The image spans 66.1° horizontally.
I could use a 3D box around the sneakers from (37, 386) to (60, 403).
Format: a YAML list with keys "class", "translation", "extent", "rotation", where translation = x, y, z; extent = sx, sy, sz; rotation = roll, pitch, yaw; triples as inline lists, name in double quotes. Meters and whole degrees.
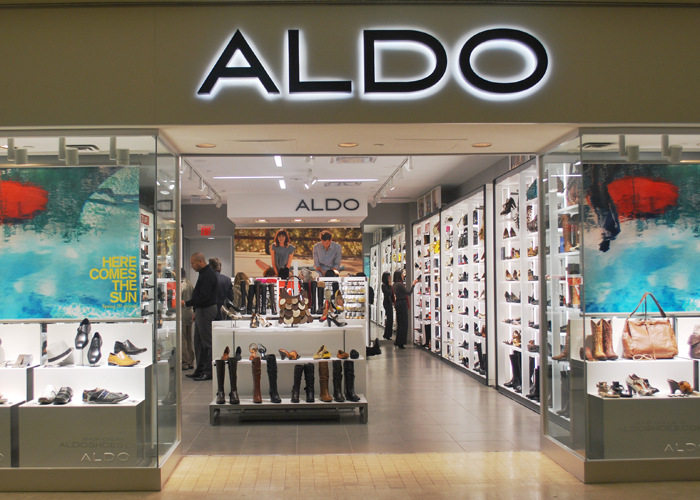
- class: "sneakers"
  translation: [-2.749, 1.329, 4.918]
  extent: [0.147, 0.159, 0.094]
  rotation: [0, 0, 0]

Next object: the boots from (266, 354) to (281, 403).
- class: "boots"
  translation: [-0.941, 1.587, 6.659]
  extent: [0.184, 0.560, 0.302]
  rotation: [0, 0, -10]

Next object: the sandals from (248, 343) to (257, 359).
- class: "sandals"
  translation: [-1.219, 1.292, 6.772]
  extent: [0.072, 0.213, 0.078]
  rotation: [8, -48, -13]

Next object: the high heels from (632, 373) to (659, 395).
- class: "high heels"
  translation: [2.786, 1.293, 5.114]
  extent: [0.246, 0.106, 0.151]
  rotation: [7, 8, 43]

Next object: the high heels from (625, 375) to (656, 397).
- class: "high heels"
  translation: [2.766, 1.291, 5.130]
  extent: [0.258, 0.124, 0.159]
  rotation: [1, -1, 43]

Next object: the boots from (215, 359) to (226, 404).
- class: "boots"
  translation: [-1.586, 1.624, 6.645]
  extent: [0.118, 0.513, 0.290]
  rotation: [0, 0, -14]

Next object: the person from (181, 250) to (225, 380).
- class: "person"
  translation: [-2.547, 1.118, 9.105]
  extent: [0.668, 2.016, 0.655]
  rotation: [-1, 6, -22]

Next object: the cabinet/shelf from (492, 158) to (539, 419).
- class: "cabinet/shelf"
  translation: [2.441, 0.479, 7.860]
  extent: [0.428, 3.340, 1.436]
  rotation: [0, 0, 2]

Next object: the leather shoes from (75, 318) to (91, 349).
- class: "leather shoes"
  translation: [-2.509, 0.792, 5.073]
  extent: [0.117, 0.280, 0.104]
  rotation: [4, -7, -6]

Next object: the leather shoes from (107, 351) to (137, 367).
- class: "leather shoes"
  translation: [-2.132, 1.026, 5.022]
  extent: [0.216, 0.086, 0.131]
  rotation: [-1, -6, 13]

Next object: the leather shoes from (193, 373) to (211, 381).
- class: "leather shoes"
  translation: [-2.440, 2.117, 8.939]
  extent: [0.312, 0.122, 0.105]
  rotation: [5, -12, -7]

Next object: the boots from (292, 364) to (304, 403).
- class: "boots"
  translation: [-0.646, 1.650, 6.683]
  extent: [0.136, 0.438, 0.289]
  rotation: [0, 0, 3]

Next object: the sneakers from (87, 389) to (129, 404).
- class: "sneakers"
  translation: [-2.239, 1.360, 5.019]
  extent: [0.368, 0.146, 0.137]
  rotation: [0, -10, -5]

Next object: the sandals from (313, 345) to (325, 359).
- class: "sandals"
  translation: [-0.392, 1.319, 6.887]
  extent: [0.112, 0.131, 0.331]
  rotation: [-1, -9, 3]

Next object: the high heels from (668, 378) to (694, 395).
- class: "high heels"
  translation: [3.158, 1.313, 5.116]
  extent: [0.224, 0.093, 0.046]
  rotation: [0, 0, 7]

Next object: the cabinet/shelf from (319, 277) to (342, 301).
- class: "cabinet/shelf"
  translation: [-0.282, 0.542, 7.453]
  extent: [0.298, 0.259, 0.498]
  rotation: [0, 0, -5]

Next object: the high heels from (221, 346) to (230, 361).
- class: "high heels"
  translation: [-1.558, 1.321, 6.765]
  extent: [0.066, 0.191, 0.055]
  rotation: [1, -13, 26]

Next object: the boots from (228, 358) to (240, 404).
- class: "boots"
  translation: [-1.425, 1.611, 6.652]
  extent: [0.142, 0.537, 0.320]
  rotation: [0, 0, -12]

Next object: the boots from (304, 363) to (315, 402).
- class: "boots"
  translation: [-0.496, 1.644, 6.660]
  extent: [0.129, 0.459, 0.189]
  rotation: [0, 0, -5]

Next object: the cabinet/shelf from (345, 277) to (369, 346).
- class: "cabinet/shelf"
  translation: [0.082, 1.392, 11.161]
  extent: [0.512, 1.612, 0.351]
  rotation: [2, 7, -29]

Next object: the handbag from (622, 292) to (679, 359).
- class: "handbag"
  translation: [2.903, 0.726, 5.241]
  extent: [0.466, 0.634, 0.266]
  rotation: [-4, 6, 11]

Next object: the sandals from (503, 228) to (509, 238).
- class: "sandals"
  translation: [2.420, -0.251, 8.313]
  extent: [0.046, 0.126, 0.054]
  rotation: [5, -3, 24]

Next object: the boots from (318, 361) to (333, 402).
- class: "boots"
  translation: [-0.298, 1.631, 6.763]
  extent: [0.181, 0.474, 0.362]
  rotation: [0, 0, -2]

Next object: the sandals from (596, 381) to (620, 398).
- class: "sandals"
  translation: [2.441, 1.323, 5.069]
  extent: [0.205, 0.127, 0.082]
  rotation: [0, 0, -9]

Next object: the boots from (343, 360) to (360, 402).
- class: "boots"
  translation: [0.025, 1.635, 6.720]
  extent: [0.195, 0.463, 0.260]
  rotation: [0, 0, -5]

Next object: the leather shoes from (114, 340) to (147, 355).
- class: "leather shoes"
  translation: [-2.032, 0.930, 5.120]
  extent: [0.369, 0.143, 0.123]
  rotation: [1, -7, 1]

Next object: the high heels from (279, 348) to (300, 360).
- class: "high heels"
  translation: [-0.775, 1.345, 6.854]
  extent: [0.216, 0.097, 0.119]
  rotation: [-2, -8, 3]

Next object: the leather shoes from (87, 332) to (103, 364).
- class: "leather shoes"
  translation: [-2.383, 0.924, 5.079]
  extent: [0.117, 0.299, 0.115]
  rotation: [1, -9, -7]

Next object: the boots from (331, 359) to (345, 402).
- class: "boots"
  translation: [-0.139, 1.630, 6.741]
  extent: [0.153, 0.474, 0.302]
  rotation: [0, 0, -3]

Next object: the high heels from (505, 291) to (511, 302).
- class: "high heels"
  translation: [2.420, 0.727, 8.193]
  extent: [0.089, 0.107, 0.116]
  rotation: [-1, 4, 18]

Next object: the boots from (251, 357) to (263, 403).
- class: "boots"
  translation: [-1.148, 1.599, 6.670]
  extent: [0.129, 0.547, 0.286]
  rotation: [0, 0, -10]
